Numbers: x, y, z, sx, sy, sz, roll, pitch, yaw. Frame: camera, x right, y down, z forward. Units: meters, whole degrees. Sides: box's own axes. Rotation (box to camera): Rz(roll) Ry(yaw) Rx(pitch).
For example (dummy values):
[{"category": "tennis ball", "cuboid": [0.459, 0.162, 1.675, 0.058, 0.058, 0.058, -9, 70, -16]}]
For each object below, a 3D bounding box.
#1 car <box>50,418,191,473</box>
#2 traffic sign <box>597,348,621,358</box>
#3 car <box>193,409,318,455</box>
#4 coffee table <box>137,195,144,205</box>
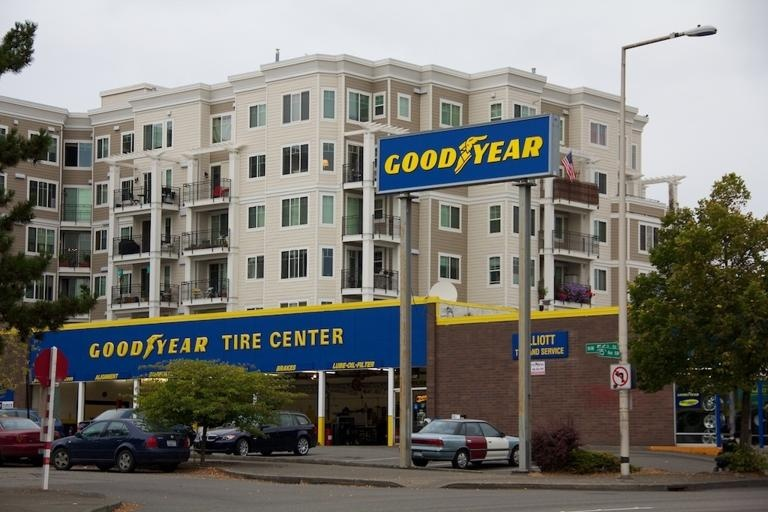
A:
[{"category": "car", "cuboid": [-10.245, 7.221, 53.444, 4.770, 1.498, 2.243, 1, -5, 25]}, {"category": "traffic sign", "cuboid": [8.953, 3.747, 54.308, 0.778, 0.366, 0.446, -11, -17, 39]}, {"category": "car", "cuboid": [-5.331, 7.851, 61.046, 4.876, 1.473, 2.211, 9, -13, -42]}, {"category": "coffee table", "cuboid": [-16.123, -3.767, 91.629, 0.627, 0.685, 0.646, -2, -1, 5]}]
